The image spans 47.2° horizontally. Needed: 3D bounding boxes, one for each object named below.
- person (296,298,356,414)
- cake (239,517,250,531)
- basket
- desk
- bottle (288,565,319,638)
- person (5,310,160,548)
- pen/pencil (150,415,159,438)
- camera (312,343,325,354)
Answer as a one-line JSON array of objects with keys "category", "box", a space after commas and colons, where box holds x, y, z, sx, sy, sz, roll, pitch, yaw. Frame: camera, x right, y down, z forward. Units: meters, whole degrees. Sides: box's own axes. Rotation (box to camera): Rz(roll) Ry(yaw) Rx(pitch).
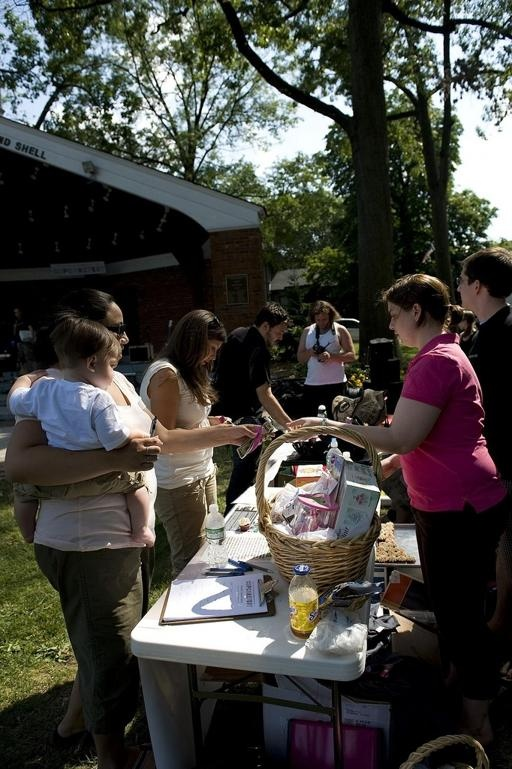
[{"category": "person", "box": [0.756, -0.056, 6.463, 0.579, 1.624, 0.503, 2, 21, 13]}, {"category": "cake", "box": [-0.046, 0.635, 2.616, 0.041, 0.041, 0.042, 1, -15, -3]}, {"category": "basket", "box": [0.236, 0.359, 2.005, 0.491, 0.587, 0.489, -4, 8, -2]}, {"category": "desk", "box": [0.042, 0.541, 1.887, 0.678, 0.598, 1.252, 2, 7, 18]}, {"category": "bottle", "box": [0.142, 0.637, 1.718, 0.082, 0.159, 0.137, -2, 7, 6]}, {"category": "person", "box": [-0.612, 0.200, 2.025, 0.508, 0.865, 0.391, -1, 8, 13]}, {"category": "pen/pencil", "box": [-0.390, 0.169, 2.245, 0.026, 0.111, 0.025, 15, 32, 6]}, {"category": "camera", "box": [0.667, -0.359, 6.181, 0.082, 0.040, 0.112, 4, -7, -42]}]
